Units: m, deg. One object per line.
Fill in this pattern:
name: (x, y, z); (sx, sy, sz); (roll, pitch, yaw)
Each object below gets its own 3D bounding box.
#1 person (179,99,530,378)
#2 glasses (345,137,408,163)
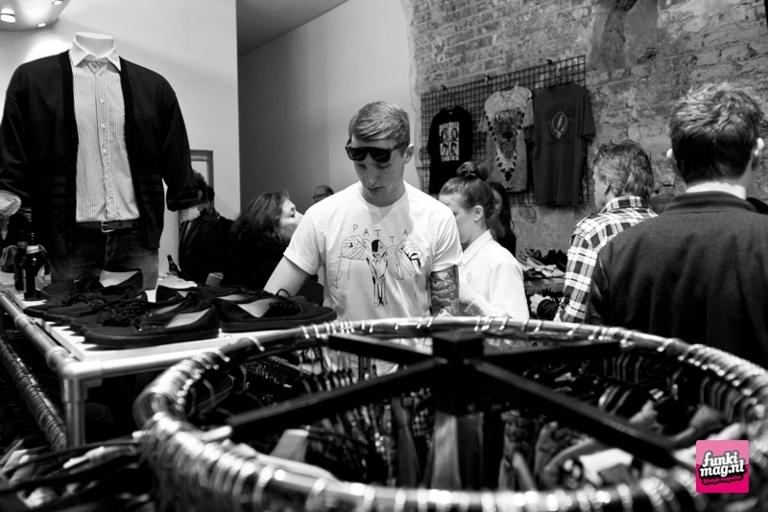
person: (-0.084, 0.143, 2.356); (1.425, 1.183, 0.752); (-1, 9, 1)
glasses: (-0.024, -0.389, 2.057); (0.232, 0.087, 0.164); (-1, 11, 2)
